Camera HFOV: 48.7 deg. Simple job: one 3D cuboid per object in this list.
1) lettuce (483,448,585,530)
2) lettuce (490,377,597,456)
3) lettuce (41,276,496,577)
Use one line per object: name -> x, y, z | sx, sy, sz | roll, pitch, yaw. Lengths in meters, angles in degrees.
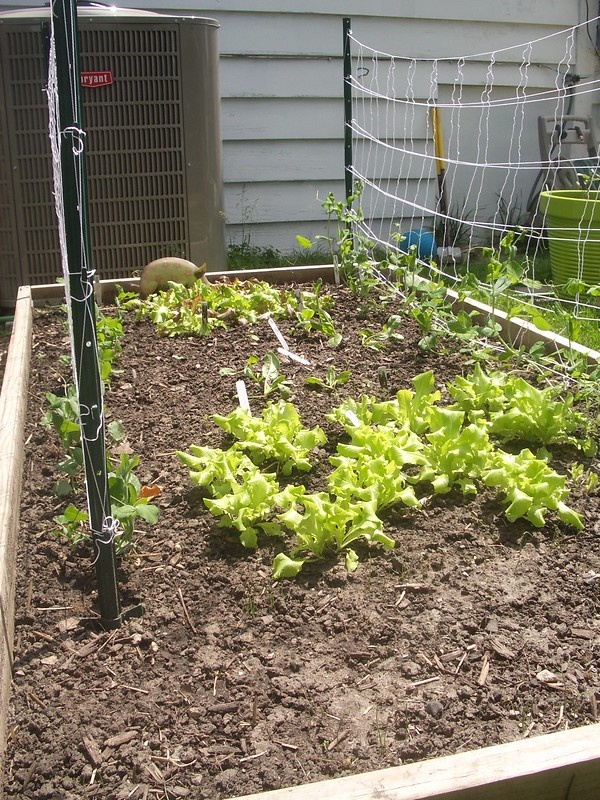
lettuce -> 0.489, 0.193, 1.464 | 0.175, 0.093, 0.187 | -10, 42, -30
lettuce -> 0.632, 0.056, 1.784 | 0.209, 0.122, 0.247 | 3, 23, -20
lettuce -> -0.003, 0.025, 1.505 | 0.638, 0.158, 0.615 | -20, 30, -37
